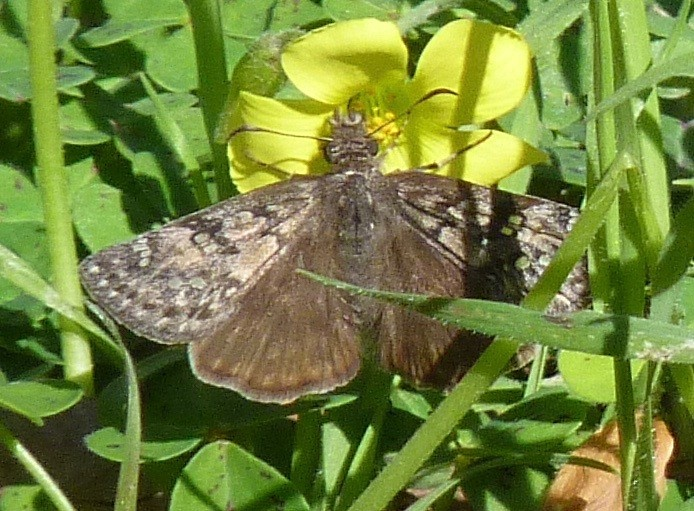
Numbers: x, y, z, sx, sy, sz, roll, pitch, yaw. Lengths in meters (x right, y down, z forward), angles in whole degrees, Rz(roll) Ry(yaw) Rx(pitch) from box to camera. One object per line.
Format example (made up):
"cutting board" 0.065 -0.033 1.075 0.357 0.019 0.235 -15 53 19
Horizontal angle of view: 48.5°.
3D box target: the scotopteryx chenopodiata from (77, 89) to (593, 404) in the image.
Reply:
"scotopteryx chenopodiata" -0.007 0.008 0.958 0.495 0.270 0.343 -21 42 -38
